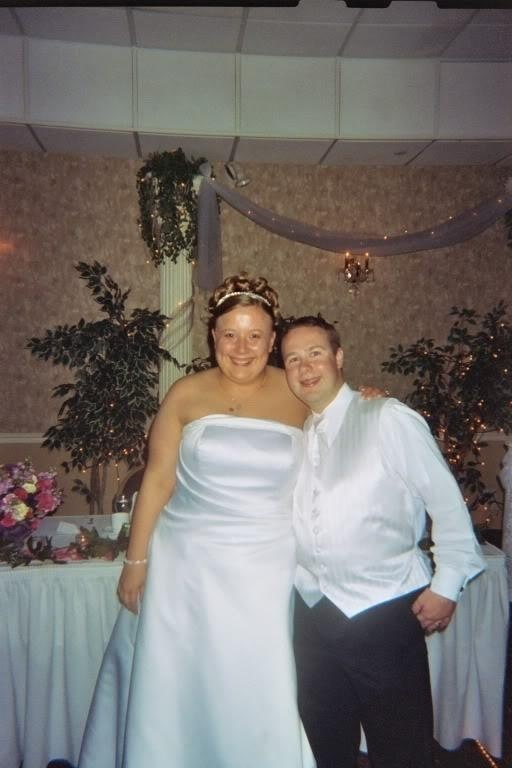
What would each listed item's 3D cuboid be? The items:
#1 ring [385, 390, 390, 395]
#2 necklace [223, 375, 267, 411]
[{"bbox_3d":[0.941,0.059,4.431,0.046,0.012,0.047,-4,15,1],"label":"ring"},{"bbox_3d":[-0.056,0.043,2.533,0.105,0.143,0.057,1,-7,-1],"label":"necklace"}]
